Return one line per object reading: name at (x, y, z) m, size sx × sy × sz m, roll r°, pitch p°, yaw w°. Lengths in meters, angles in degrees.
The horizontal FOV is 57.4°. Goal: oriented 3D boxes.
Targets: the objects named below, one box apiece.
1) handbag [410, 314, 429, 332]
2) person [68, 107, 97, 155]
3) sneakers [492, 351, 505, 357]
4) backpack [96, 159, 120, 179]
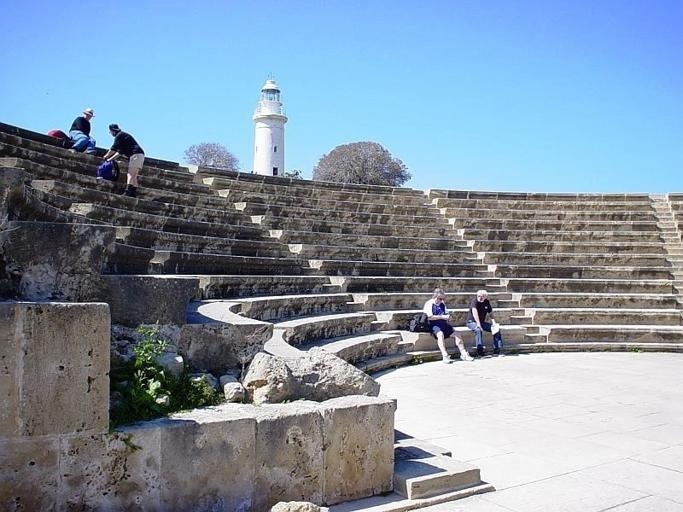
handbag at (1.346, 1.209, 10.877) m, size 0.333 × 0.322 × 0.291 m, roll 0°, pitch -18°, yaw 3°
person at (-4.423, -2.117, 10.594) m, size 0.449 × 0.721 × 0.754 m, roll 6°, pitch 8°, yaw -21°
sneakers at (2.895, 1.811, 11.415) m, size 0.260 × 0.112 × 0.087 m, roll -2°, pitch 0°, yaw 7°
backpack at (-3.557, -1.283, 9.535) m, size 0.387 × 0.379 × 0.288 m, roll 3°, pitch 16°, yaw -12°
